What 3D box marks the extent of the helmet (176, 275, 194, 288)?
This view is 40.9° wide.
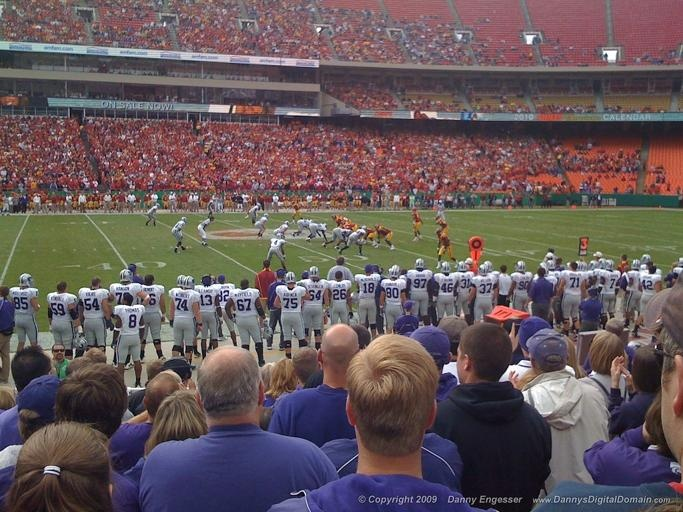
[{"bbox_3d":[-5.024,0.908,29.686,0.368,0.515,0.494,5,15,13],"label":"helmet"}]

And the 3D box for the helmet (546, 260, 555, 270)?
[{"bbox_3d":[7.748,0.379,33.470,0.489,0.330,0.280,-1,3,-34],"label":"helmet"}]

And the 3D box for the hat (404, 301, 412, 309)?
[{"bbox_3d":[2.160,1.577,29.122,0.258,0.237,0.322,0,3,-4],"label":"hat"}]

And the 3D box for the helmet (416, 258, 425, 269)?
[{"bbox_3d":[2.795,0.294,32.188,0.293,0.310,0.468,0,3,-1],"label":"helmet"}]

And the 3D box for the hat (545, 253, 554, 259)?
[{"bbox_3d":[7.757,0.034,33.895,0.194,0.322,0.243,2,-2,-23],"label":"hat"}]

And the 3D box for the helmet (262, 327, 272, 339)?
[{"bbox_3d":[-2.434,2.510,30.144,0.357,0.429,0.573,0,3,-2],"label":"helmet"}]

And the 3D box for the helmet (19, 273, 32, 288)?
[{"bbox_3d":[-10.183,0.826,29.499,0.350,0.372,0.372,0,3,-19],"label":"helmet"}]

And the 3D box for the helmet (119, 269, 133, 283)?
[{"bbox_3d":[-7.041,0.697,29.880,0.311,0.457,0.442,4,18,-2],"label":"helmet"}]

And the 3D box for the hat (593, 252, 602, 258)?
[{"bbox_3d":[10.522,-0.015,37.351,0.204,0.168,0.296,-5,6,-14],"label":"hat"}]

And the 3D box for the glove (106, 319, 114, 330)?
[{"bbox_3d":[-7.588,2.259,29.978,0.233,0.425,0.827,0,3,-14],"label":"glove"}]

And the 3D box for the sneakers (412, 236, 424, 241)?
[{"bbox_3d":[3.926,-0.837,46.511,0.201,0.295,0.626,-3,4,37],"label":"sneakers"}]

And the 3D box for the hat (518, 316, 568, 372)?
[{"bbox_3d":[5.184,2.209,23.316,1.110,1.182,0.901,1,3,7],"label":"hat"}]

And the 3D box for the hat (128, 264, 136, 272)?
[{"bbox_3d":[-7.173,0.436,31.380,0.159,0.215,0.221,9,35,-18],"label":"hat"}]

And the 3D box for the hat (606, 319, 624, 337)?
[{"bbox_3d":[7.720,2.049,25.724,0.437,0.520,0.754,2,-30,21],"label":"hat"}]

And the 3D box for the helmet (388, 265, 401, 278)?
[{"bbox_3d":[1.859,0.550,31.309,0.303,0.436,0.421,7,-31,5],"label":"helmet"}]

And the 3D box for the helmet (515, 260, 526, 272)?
[{"bbox_3d":[6.464,0.467,32.780,0.284,0.387,0.377,10,34,11],"label":"helmet"}]

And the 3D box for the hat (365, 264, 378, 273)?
[{"bbox_3d":[1.108,0.491,31.756,0.489,0.302,0.363,1,3,2],"label":"hat"}]
